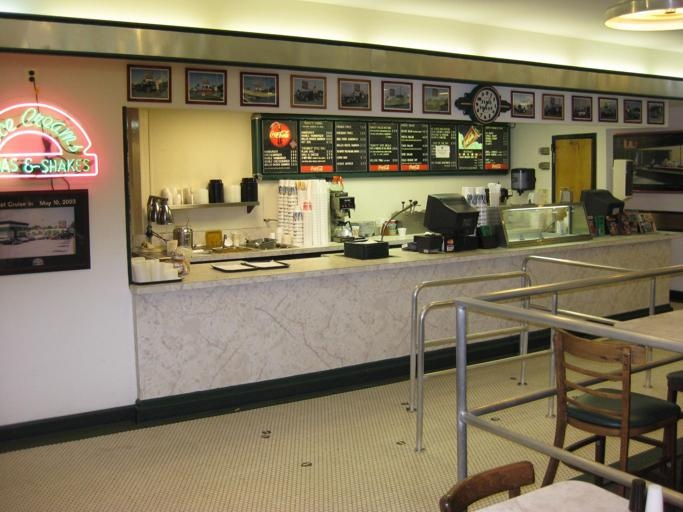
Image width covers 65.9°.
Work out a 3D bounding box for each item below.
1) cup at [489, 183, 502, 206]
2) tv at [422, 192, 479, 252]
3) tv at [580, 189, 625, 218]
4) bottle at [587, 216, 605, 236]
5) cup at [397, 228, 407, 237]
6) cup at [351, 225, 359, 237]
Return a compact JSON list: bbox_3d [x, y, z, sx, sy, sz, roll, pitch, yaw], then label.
[{"bbox_3d":[1.881,-0.734,6.465,0.120,0.276,0.151,3,12,20],"label":"cup"},{"bbox_3d":[1.079,-0.409,6.155,0.700,0.770,0.670,-8,14,-32],"label":"tv"},{"bbox_3d":[3.600,-0.783,7.507,0.538,0.463,0.523,-9,12,-29],"label":"tv"},{"bbox_3d":[3.524,-0.400,7.219,0.291,0.263,0.205,0,11,5],"label":"bottle"},{"bbox_3d":[0.920,-0.338,7.956,0.111,0.130,0.152,0,0,-17],"label":"cup"},{"bbox_3d":[0.220,-0.373,8.077,0.198,0.185,0.179,1,6,3],"label":"cup"}]
